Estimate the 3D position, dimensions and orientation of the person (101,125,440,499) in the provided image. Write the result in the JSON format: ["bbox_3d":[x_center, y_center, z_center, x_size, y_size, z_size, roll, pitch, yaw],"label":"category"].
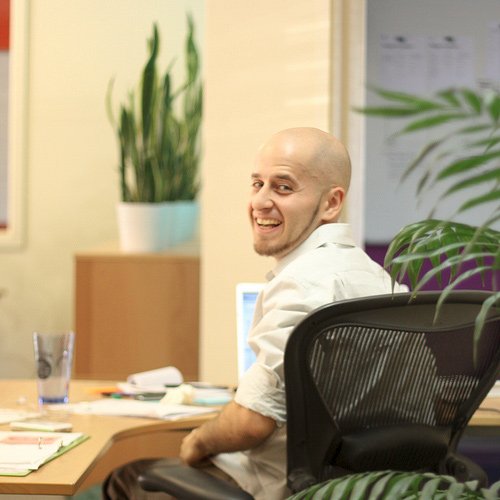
[{"bbox_3d":[0.082,0.120,1.422,0.667,0.986,0.672,1,-4,20],"label":"person"}]
